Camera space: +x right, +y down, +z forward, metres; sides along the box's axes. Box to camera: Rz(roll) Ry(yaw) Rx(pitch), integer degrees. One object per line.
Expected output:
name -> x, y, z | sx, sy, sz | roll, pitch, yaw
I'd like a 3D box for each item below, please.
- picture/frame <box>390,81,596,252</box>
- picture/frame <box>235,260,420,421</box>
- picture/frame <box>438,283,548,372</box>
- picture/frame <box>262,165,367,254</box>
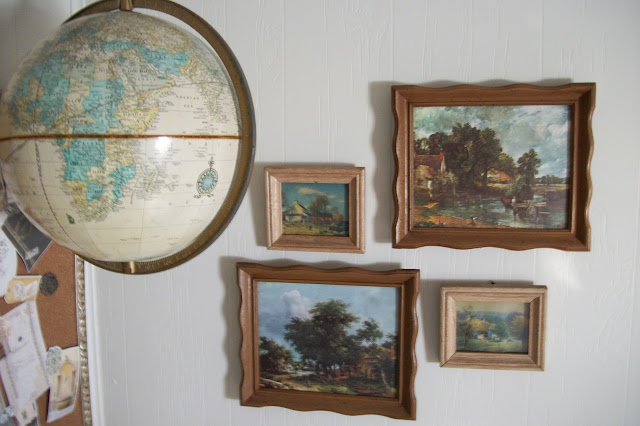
picture/frame -> 0.647, -0.178, 2.298 | 0.646, 0.527, 0.049 | 0, 2, 4
picture/frame -> 0.051, 0.460, 2.401 | 0.634, 0.492, 0.028 | 1, 7, 9
picture/frame -> 0.640, 0.412, 2.333 | 0.342, 0.284, 0.033 | 0, 2, 4
picture/frame -> -0.008, -0.017, 2.371 | 0.343, 0.286, 0.026 | 0, 6, 9
